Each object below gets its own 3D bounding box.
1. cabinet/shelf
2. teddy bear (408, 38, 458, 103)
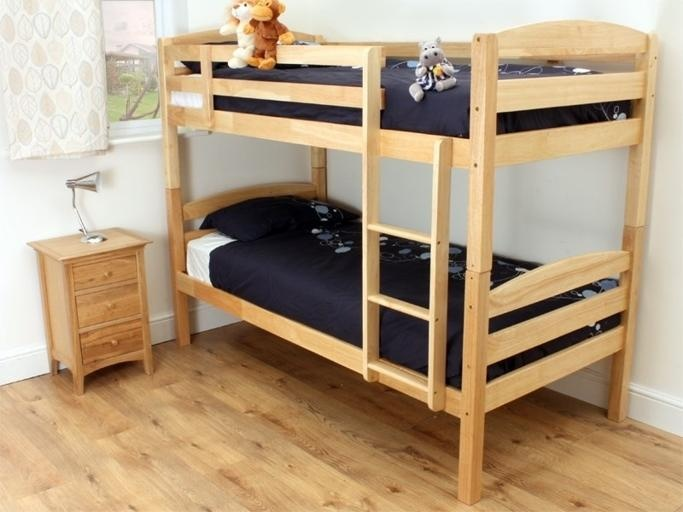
[{"bbox_3d":[-1.520,0.326,3.722,0.712,0.868,0.613,-13,27,-28],"label":"cabinet/shelf"},{"bbox_3d":[0.392,-0.786,2.516,0.193,0.261,0.216,6,24,12],"label":"teddy bear"}]
